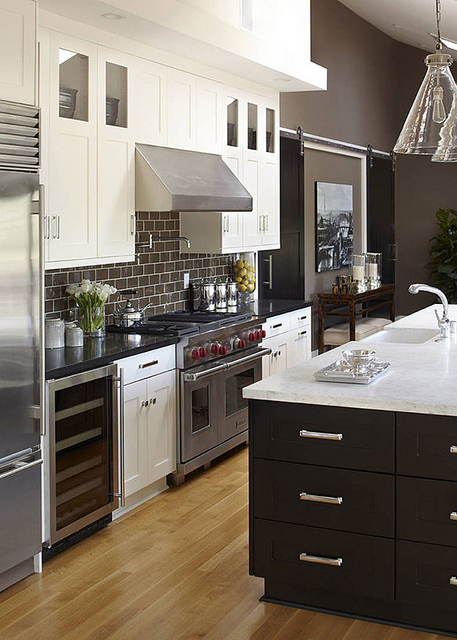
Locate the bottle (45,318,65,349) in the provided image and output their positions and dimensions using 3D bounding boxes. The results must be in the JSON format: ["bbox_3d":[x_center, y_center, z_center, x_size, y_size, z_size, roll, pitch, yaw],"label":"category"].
[{"bbox_3d":[-0.859,0.070,2.675,0.113,0.144,0.121,0,-2,0],"label":"bottle"}]

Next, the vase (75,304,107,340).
[{"bbox_3d":[-0.771,0.012,3.032,0.171,0.211,0.171,-1,3,15],"label":"vase"}]

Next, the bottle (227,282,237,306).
[{"bbox_3d":[0.031,-0.204,4.334,0.091,0.150,0.032,-2,-1,-39],"label":"bottle"}]

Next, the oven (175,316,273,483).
[{"bbox_3d":[-0.221,0.495,3.753,0.673,0.980,1.004,3,7,30],"label":"oven"}]

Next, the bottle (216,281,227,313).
[{"bbox_3d":[-0.055,-0.175,4.228,0.092,0.194,0.165,-3,-1,1],"label":"bottle"}]

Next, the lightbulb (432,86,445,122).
[{"bbox_3d":[0.635,-0.659,1.643,0.033,0.113,0.024,-4,-1,27],"label":"lightbulb"}]
